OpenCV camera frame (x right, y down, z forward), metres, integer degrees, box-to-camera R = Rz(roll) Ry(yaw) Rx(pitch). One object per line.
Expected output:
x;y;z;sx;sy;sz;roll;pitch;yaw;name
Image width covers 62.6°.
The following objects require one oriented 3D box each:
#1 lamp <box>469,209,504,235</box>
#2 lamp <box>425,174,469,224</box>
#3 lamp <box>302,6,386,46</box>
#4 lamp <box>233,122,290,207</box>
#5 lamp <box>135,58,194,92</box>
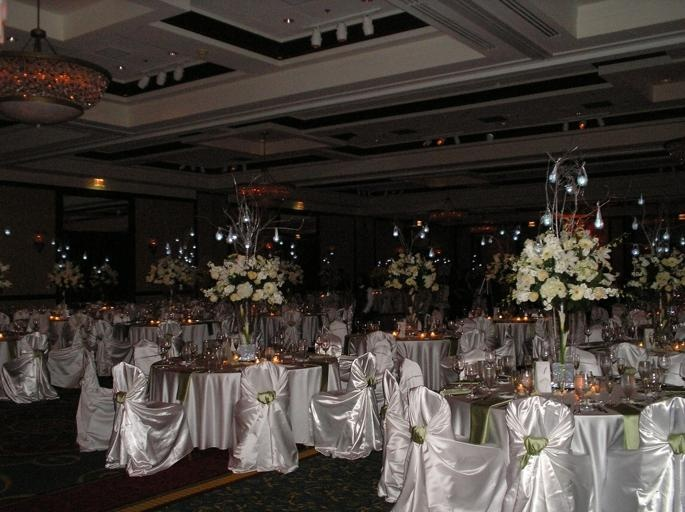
5.774;-1.330;22.543;0.920;0.241;0.900;3;-21;-3;lamp
3.023;-1.588;16.176;1.087;1.027;1.050;-4;4;-27;lamp
0.017;-2.646;6.674;0.785;0.378;0.975;2;-2;-5;lamp
-1.527;-1.713;10.968;1.028;1.564;1.065;-2;-8;0;lamp
-2.583;-2.539;8.023;0.577;0.318;1.168;3;-2;-31;lamp
